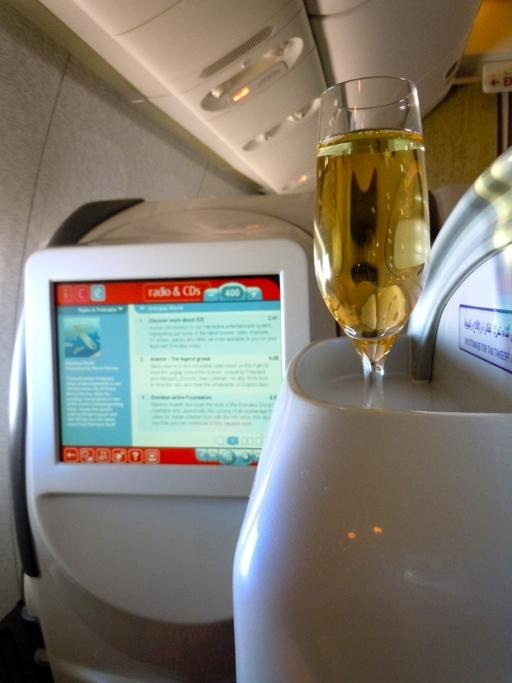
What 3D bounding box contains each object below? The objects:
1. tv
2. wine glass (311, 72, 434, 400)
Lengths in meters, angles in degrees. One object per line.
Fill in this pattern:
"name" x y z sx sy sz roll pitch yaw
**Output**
"tv" -0.104 0.016 0.710 0.327 0.280 0.191 0 11 -1
"wine glass" 0.066 -0.057 0.310 0.065 0.183 0.054 -1 2 7
